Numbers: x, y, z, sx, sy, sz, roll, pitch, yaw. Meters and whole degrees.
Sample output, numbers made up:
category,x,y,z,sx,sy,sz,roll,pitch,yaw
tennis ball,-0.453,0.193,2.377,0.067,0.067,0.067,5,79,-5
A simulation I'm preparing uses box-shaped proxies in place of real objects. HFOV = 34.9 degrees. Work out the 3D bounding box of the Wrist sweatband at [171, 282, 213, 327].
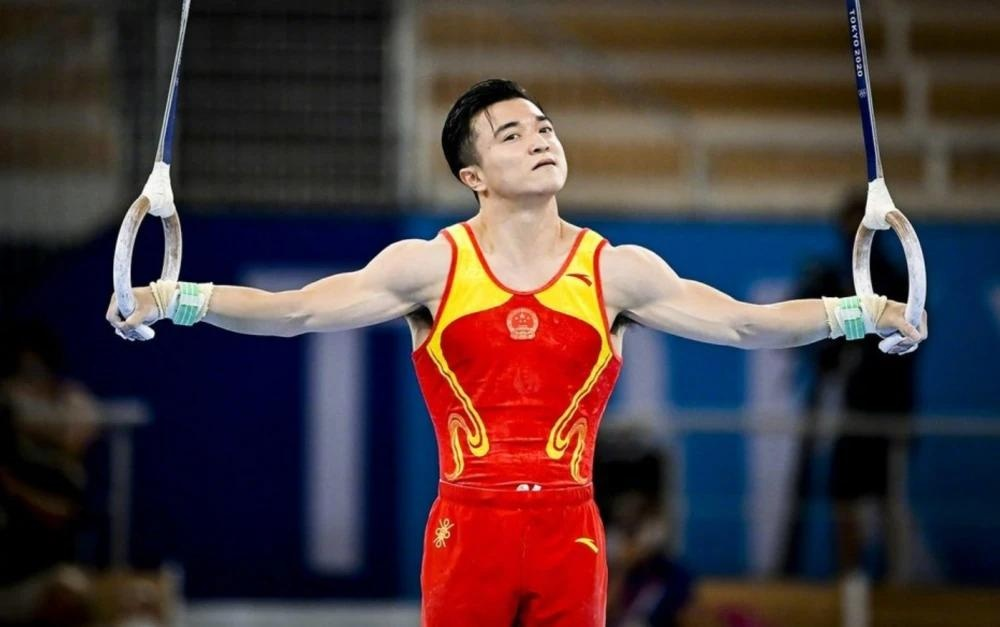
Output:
category,x,y,z,sx,sy,sz,roll,pitch,yaw
Wrist sweatband,-1.343,-0.042,6.973,0.151,0.211,0.192,6,5,-16

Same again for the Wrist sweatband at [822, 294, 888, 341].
category,x,y,z,sx,sy,sz,roll,pitch,yaw
Wrist sweatband,1.540,0.010,7.018,0.212,0.103,0.212,0,-7,-3
